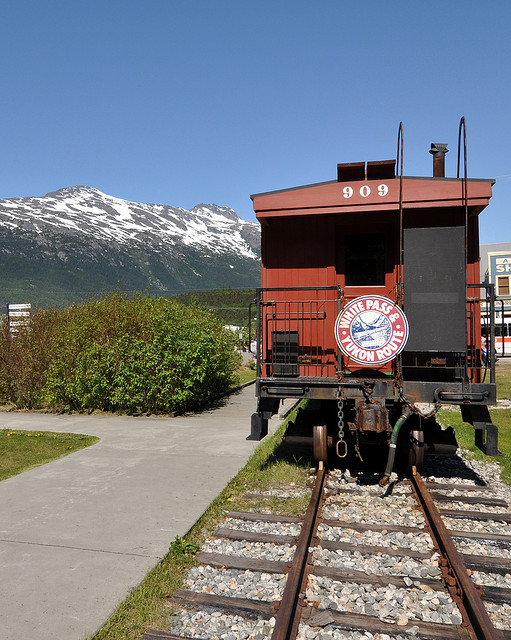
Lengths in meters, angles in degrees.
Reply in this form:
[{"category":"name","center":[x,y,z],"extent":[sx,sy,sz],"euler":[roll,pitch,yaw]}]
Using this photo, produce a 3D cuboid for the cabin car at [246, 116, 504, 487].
[{"category":"cabin car","center":[1.588,-0.250,8.028],"extent":[2.447,3.608,5.185],"euler":[0,-3,11]}]
